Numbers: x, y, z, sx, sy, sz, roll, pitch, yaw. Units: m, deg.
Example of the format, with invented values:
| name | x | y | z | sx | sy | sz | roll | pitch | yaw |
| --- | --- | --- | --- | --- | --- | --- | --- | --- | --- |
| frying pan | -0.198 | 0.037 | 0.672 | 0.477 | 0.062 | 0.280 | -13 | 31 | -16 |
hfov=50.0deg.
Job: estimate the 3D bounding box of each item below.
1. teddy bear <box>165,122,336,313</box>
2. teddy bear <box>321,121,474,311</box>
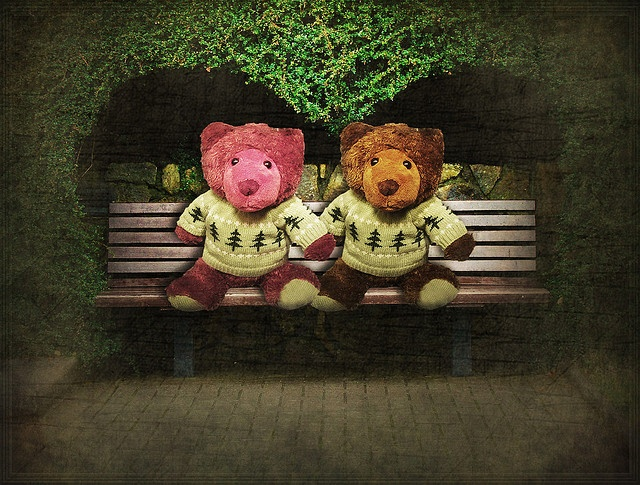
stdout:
| name | x | y | z | sx | sy | sz | roll | pitch | yaw |
| --- | --- | --- | --- | --- | --- | --- | --- | --- | --- |
| teddy bear | -0.495 | -0.177 | 4.912 | 1.166 | 1.322 | 0.448 | 1 | 10 | 2 |
| teddy bear | 0.542 | -0.173 | 5.047 | 1.306 | 1.237 | 0.872 | 4 | 25 | 9 |
